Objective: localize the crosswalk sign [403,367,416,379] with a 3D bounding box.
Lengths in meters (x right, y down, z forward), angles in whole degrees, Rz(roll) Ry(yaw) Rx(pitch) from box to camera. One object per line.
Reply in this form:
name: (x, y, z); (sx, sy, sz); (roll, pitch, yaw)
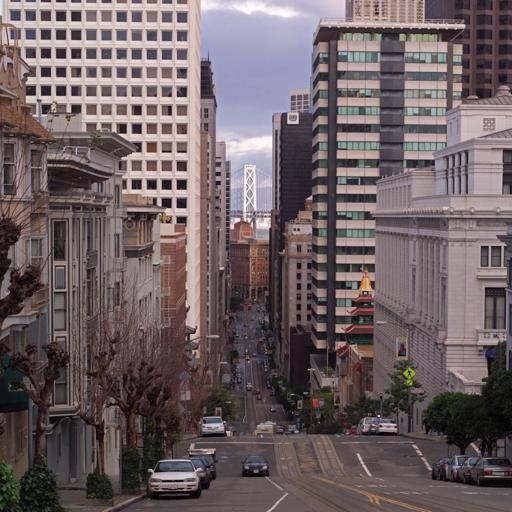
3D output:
crosswalk sign: (12.205, 9.411, 109.894); (0.920, 1.150, 0.136); (2, -7, 0)
